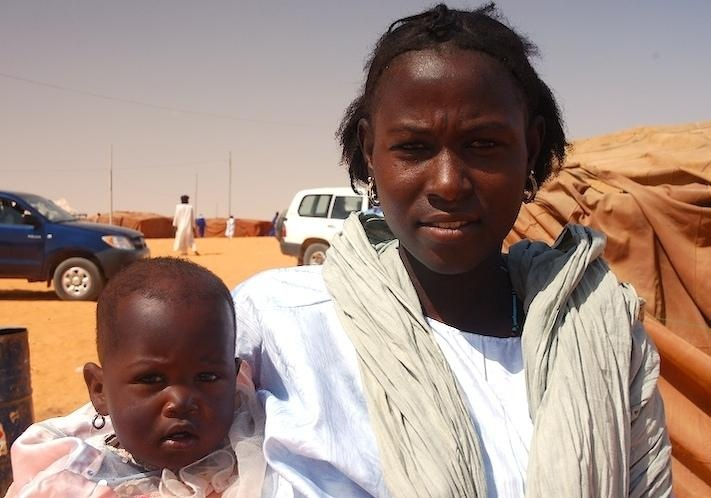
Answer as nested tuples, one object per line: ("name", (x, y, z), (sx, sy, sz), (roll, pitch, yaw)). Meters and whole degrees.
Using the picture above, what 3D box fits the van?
("van", (-0.683, -0.476, 12.177), (1.822, 1.049, 1.154), (-4, 1, 22))
